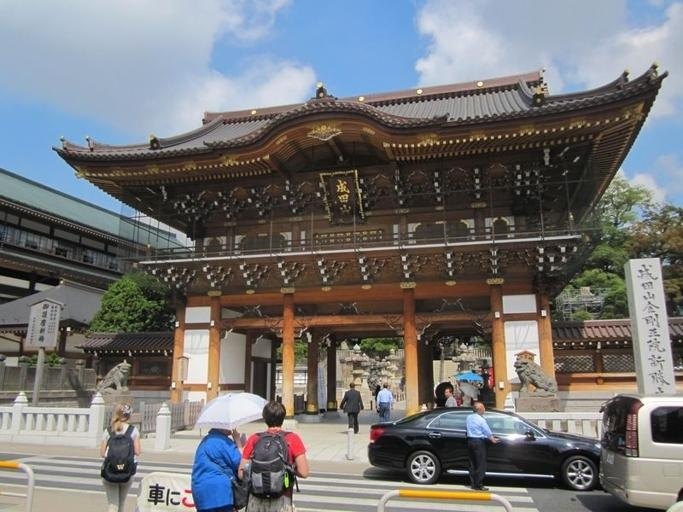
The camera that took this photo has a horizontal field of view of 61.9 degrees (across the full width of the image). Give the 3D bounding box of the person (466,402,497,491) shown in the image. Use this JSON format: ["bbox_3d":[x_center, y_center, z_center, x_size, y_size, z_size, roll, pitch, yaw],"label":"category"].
[{"bbox_3d":[3.513,4.693,14.247,0.652,2.084,0.709,-14,-21,36],"label":"person"}]

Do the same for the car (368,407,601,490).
[{"bbox_3d":[3.695,5.016,15.290,5.781,1.548,2.214,-3,-16,8],"label":"car"}]
